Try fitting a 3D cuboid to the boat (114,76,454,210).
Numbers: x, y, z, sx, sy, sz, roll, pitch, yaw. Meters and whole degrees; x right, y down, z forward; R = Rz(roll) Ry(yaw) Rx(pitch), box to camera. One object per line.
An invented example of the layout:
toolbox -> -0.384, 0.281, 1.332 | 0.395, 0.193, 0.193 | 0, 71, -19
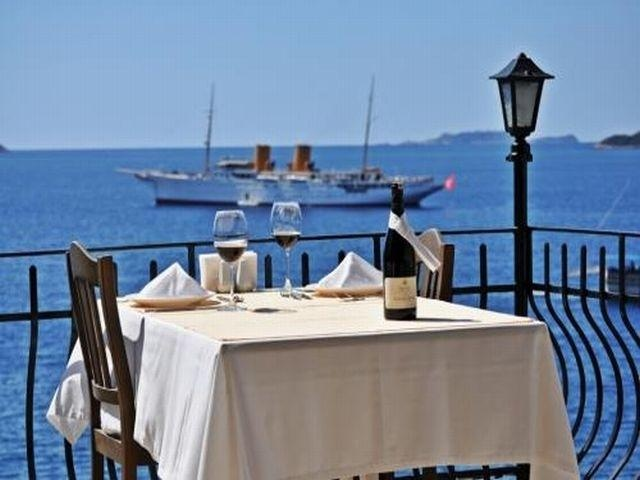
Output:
boat -> -2.523, -5.886, 106.979 | 20.031, 6.074, 4.453 | -2, 6, -7
